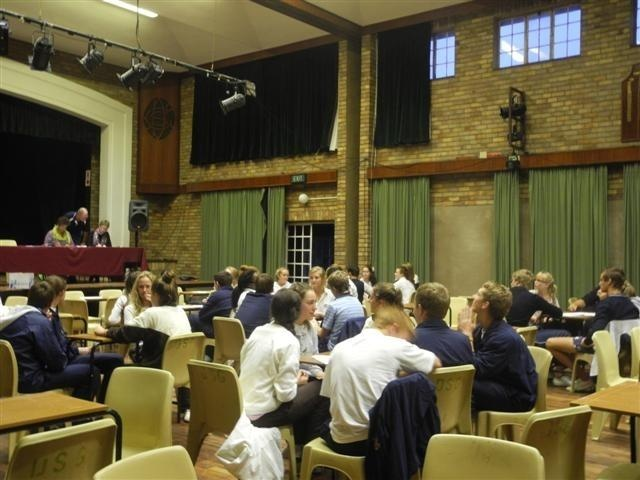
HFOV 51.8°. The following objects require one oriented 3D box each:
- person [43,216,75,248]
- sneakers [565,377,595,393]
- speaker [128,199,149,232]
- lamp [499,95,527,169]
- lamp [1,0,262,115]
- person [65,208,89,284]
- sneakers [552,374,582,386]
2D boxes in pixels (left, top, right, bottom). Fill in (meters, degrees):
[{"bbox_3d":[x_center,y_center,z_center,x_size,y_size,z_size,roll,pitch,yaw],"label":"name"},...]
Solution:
[{"bbox_3d":[-4.789,-0.031,12.172,0.503,0.810,0.401,5,15,-29],"label":"person"},{"bbox_3d":[3.067,1.718,7.820,0.270,0.119,0.185,-1,-2,-17],"label":"sneakers"},{"bbox_3d":[-3.941,-0.501,14.365,0.412,0.677,0.327,3,-3,-28],"label":"speaker"},{"bbox_3d":[3.300,-1.912,11.274,0.413,1.370,0.836,1,-3,18],"label":"lamp"},{"bbox_3d":[-3.963,-3.821,13.724,4.337,0.724,0.700,25,-8,6],"label":"lamp"},{"bbox_3d":[-4.825,0.072,12.922,0.457,1.456,0.441,5,13,-38],"label":"person"},{"bbox_3d":[3.025,1.714,8.105,0.193,0.092,0.255,0,-6,26],"label":"sneakers"}]
